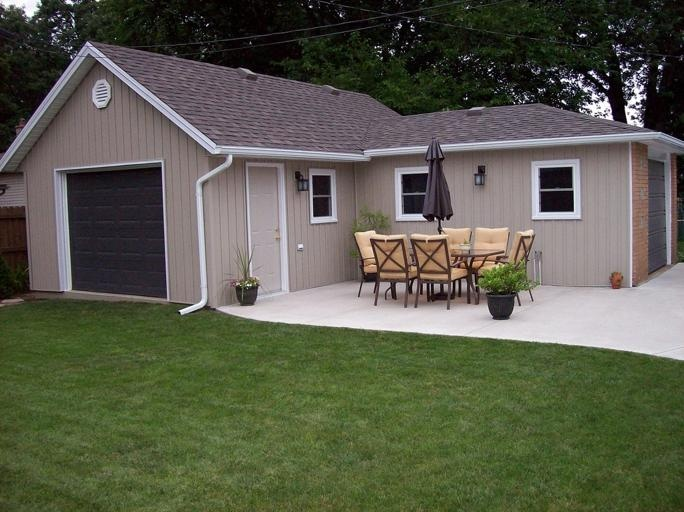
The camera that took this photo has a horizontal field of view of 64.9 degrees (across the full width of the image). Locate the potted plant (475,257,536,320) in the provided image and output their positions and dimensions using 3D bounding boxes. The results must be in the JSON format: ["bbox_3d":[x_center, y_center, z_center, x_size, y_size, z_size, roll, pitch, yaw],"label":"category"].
[{"bbox_3d":[2.744,0.605,9.303,0.855,0.952,0.724,0,2,22],"label":"potted plant"}]

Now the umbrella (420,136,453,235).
[{"bbox_3d":[2.079,-1.536,11.838,0.733,2.108,0.596,-6,8,-41],"label":"umbrella"}]

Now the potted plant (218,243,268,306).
[{"bbox_3d":[-2.109,0.404,11.571,1.080,1.508,1.031,0,-3,-11],"label":"potted plant"}]

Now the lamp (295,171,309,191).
[{"bbox_3d":[-0.945,-1.796,12.950,0.172,0.509,0.464,2,7,25],"label":"lamp"}]

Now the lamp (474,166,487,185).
[{"bbox_3d":[3.410,-1.998,13.368,0.280,0.517,0.211,1,6,19],"label":"lamp"}]
